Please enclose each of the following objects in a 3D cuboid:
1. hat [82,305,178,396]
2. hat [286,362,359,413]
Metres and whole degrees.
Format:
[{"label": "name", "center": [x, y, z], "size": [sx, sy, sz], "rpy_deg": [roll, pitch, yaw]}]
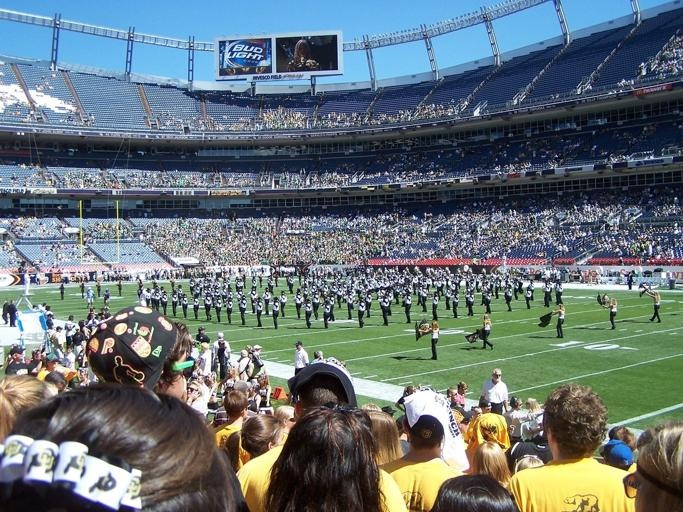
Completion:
[{"label": "hat", "center": [-0.920, 0.407, 2.553], "size": [0.381, 0.361, 0.275], "rpy_deg": [0, -5, -23]}, {"label": "hat", "center": [-0.097, 0.722, 3.113], "size": [0.274, 0.289, 0.412], "rpy_deg": [2, -5, -41]}]
